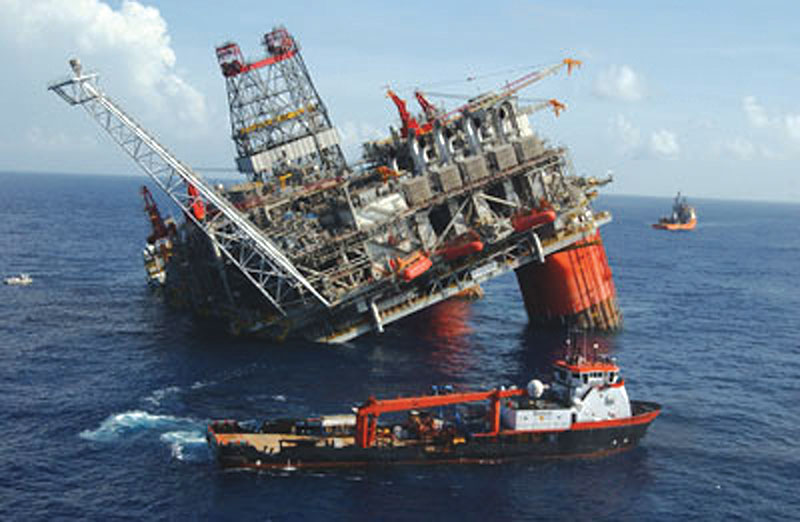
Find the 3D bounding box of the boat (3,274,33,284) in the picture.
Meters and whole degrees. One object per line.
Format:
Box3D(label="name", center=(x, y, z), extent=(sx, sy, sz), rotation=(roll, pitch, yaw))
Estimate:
Box3D(label="boat", center=(-58.760, 2.964, 143.713), extent=(3.197, 1.024, 2.085), rotation=(1, -3, -31))
